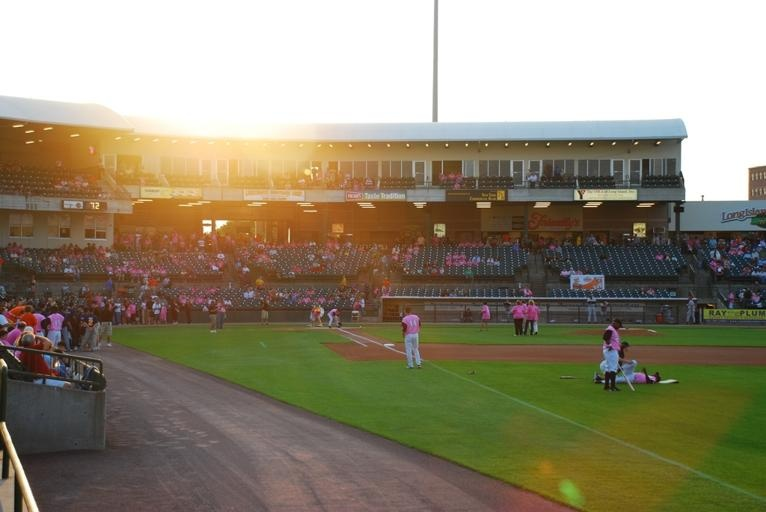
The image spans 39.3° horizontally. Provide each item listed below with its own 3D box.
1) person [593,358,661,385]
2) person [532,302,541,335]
[{"bbox_3d":[10.452,5.041,45.331,2.112,0.756,1.342,-1,-3,2],"label":"person"},{"bbox_3d":[8.805,3.686,62.411,0.501,1.982,1.521,-2,1,5],"label":"person"}]
